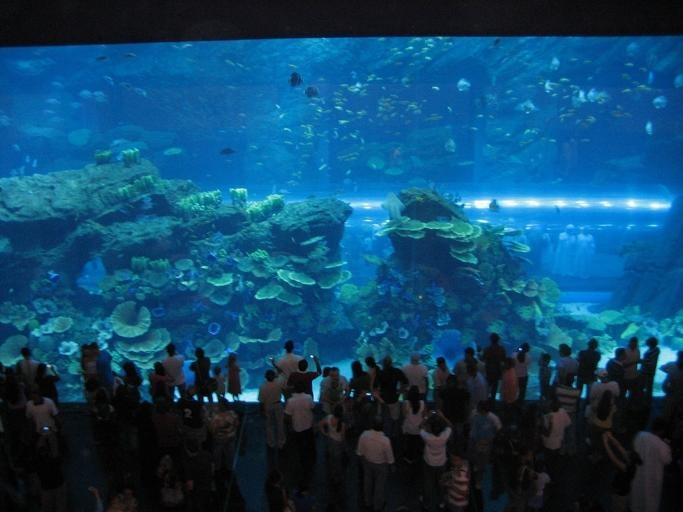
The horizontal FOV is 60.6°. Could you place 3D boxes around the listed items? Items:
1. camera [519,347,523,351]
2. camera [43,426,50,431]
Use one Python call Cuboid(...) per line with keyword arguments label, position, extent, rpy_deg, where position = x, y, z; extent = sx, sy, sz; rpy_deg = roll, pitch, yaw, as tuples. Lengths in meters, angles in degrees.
Cuboid(label="camera", position=(6.344, 3.290, 20.744), extent=(0.114, 0.023, 0.113), rpy_deg=(1, 17, 34))
Cuboid(label="camera", position=(-9.867, 5.751, 19.500), extent=(0.222, 0.123, 0.252), rpy_deg=(0, 0, -31))
